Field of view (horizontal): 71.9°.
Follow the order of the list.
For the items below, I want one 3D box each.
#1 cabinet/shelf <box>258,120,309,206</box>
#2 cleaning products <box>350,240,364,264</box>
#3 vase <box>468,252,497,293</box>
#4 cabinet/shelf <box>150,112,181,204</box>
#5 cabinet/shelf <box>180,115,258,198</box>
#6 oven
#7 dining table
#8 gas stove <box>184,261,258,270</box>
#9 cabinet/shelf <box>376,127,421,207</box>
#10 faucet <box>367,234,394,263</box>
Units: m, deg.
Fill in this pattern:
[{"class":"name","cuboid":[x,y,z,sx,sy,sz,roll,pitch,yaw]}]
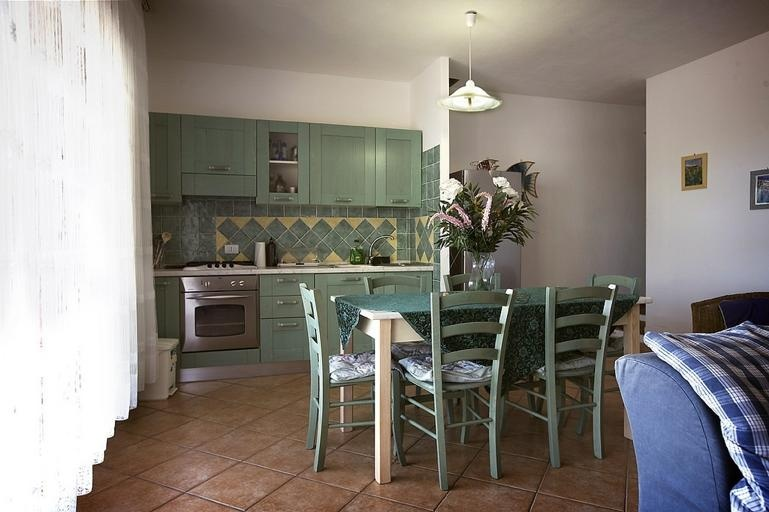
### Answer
[{"class":"cabinet/shelf","cuboid":[-1.064,-0.979,5.561,0.571,0.846,0.180,-2,10,-9]},{"class":"cleaning products","cuboid":[-0.315,-0.053,6.028,0.180,0.260,0.334,0,9,0]},{"class":"vase","cuboid":[0.755,0.112,3.879,0.214,0.305,0.206,-5,8,3]},{"class":"cabinet/shelf","cuboid":[-2.223,-0.992,5.282,0.378,0.851,0.133,3,-2,4]},{"class":"cabinet/shelf","cuboid":[-1.654,-1.011,5.600,0.803,0.820,0.521,2,10,-3]},{"class":"oven","cuboid":[-1.619,0.590,5.355,0.761,0.729,0.543,-1,-8,-9]},{"class":"dining table","cuboid":[0.393,0.594,3.553,1.778,1.010,1.317,2,-3,-29]},{"class":"gas stove","cuboid":[-1.732,0.092,5.567,0.706,0.054,0.348,-3,9,-15]},{"class":"cabinet/shelf","cuboid":[0.150,-0.986,5.920,0.528,0.834,0.172,-2,10,-7]},{"class":"faucet","cuboid":[-0.076,-0.117,6.219,0.128,0.291,0.404,7,12,39]}]
